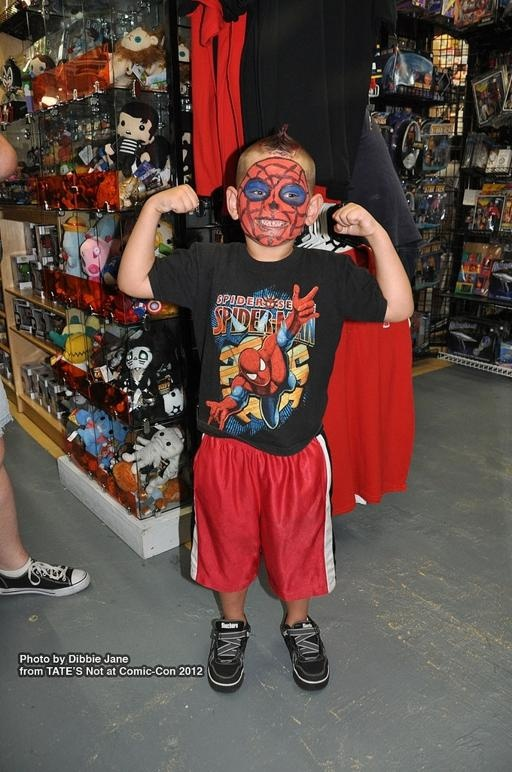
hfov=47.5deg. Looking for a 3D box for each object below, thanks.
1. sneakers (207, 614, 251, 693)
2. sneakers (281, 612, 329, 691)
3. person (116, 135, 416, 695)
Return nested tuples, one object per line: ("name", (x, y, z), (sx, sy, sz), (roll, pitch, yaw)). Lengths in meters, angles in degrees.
("sneakers", (-0.067, 0.641, 1.356), (0.067, 0.074, 0.175), (1, -3, 1))
("sneakers", (0.118, 0.630, 1.384), (0.066, 0.067, 0.177), (-1, 13, -8))
("person", (0.022, -0.007, 1.214), (0.562, 0.954, 0.268), (-6, 24, -9))
